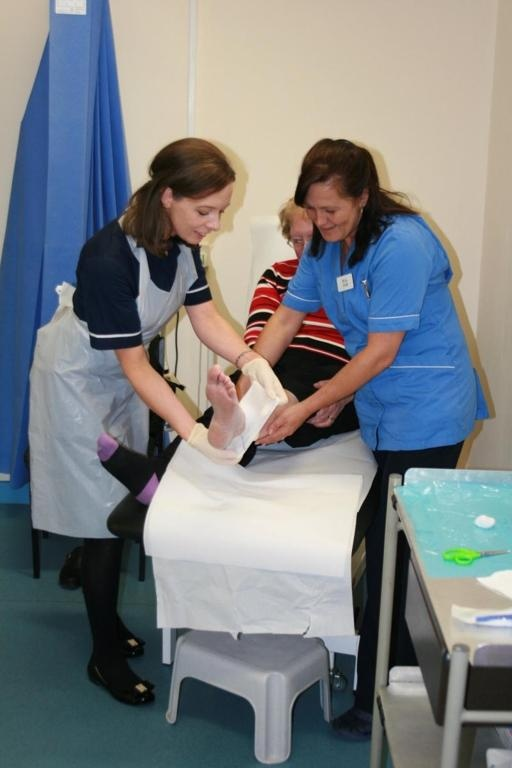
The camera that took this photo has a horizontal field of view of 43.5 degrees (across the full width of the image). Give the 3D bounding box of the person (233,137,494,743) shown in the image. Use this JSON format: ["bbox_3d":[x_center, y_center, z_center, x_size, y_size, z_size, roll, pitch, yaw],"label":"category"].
[{"bbox_3d":[0.229,0.111,1.523,0.682,1.286,0.348,-14,18,-23],"label":"person"}]

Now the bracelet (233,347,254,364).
[{"bbox_3d":[-0.028,-0.067,1.552,0.010,0.038,0.037,38,-6,-12],"label":"bracelet"}]

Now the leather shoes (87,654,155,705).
[{"bbox_3d":[-0.336,0.745,1.651,0.205,0.083,0.070,24,36,27],"label":"leather shoes"}]

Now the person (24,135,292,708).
[{"bbox_3d":[-0.251,0.111,1.544,0.633,1.334,0.402,13,16,37],"label":"person"}]

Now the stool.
[{"bbox_3d":[-0.021,0.651,1.458,0.315,0.185,0.334,5,2,39],"label":"stool"}]
